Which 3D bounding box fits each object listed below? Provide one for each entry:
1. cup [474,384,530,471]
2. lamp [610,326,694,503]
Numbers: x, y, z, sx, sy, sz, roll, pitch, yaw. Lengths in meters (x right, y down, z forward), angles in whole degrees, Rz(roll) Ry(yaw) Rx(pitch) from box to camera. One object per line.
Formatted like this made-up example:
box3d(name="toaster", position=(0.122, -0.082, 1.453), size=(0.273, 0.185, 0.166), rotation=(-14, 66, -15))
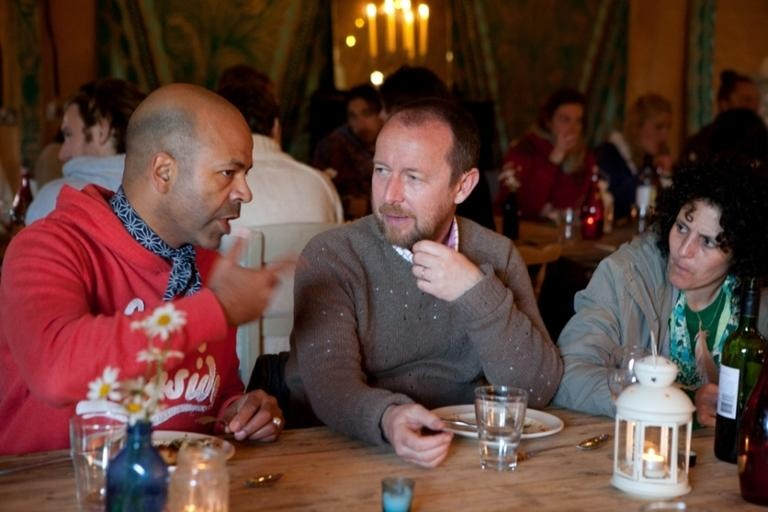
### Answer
box3d(name="cup", position=(0.300, 0.442, 1.706), size=(0.129, 0.187, 0.129), rotation=(1, -7, 0))
box3d(name="lamp", position=(0.636, 0.400, 1.583), size=(0.184, 0.328, 0.115), rotation=(-1, -2, 11))
